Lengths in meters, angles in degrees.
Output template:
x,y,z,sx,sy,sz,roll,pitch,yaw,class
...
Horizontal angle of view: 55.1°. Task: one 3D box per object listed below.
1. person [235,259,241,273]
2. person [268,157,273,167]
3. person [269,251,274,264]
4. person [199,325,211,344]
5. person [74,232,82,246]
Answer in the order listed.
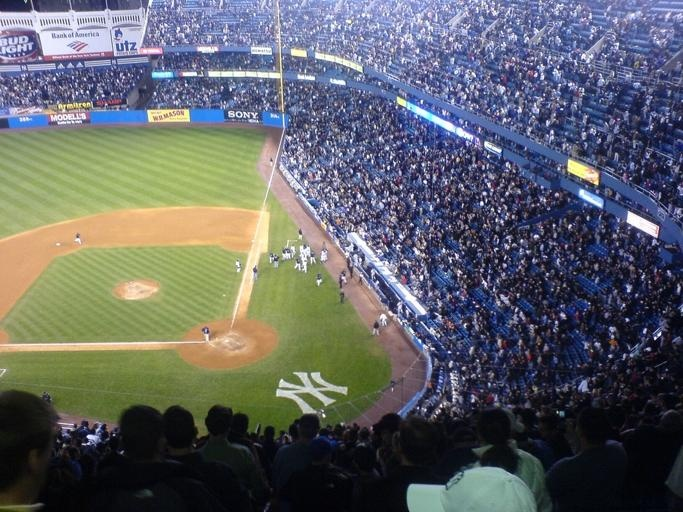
x,y,z,sx,sy,sz,roll,pitch,yaw,class
-6.142,0.503,38.791,0.363,0.600,1.244,4,11,-10,person
-6.168,-8.310,57.077,0.357,0.575,1.702,4,11,-8,person
-4.175,-0.057,39.130,0.218,0.331,0.846,3,49,-15,person
-6.592,3.625,31.746,0.468,0.784,1.465,4,11,-12,person
-16.947,-1.185,42.066,0.517,0.697,1.427,1,11,-23,person
